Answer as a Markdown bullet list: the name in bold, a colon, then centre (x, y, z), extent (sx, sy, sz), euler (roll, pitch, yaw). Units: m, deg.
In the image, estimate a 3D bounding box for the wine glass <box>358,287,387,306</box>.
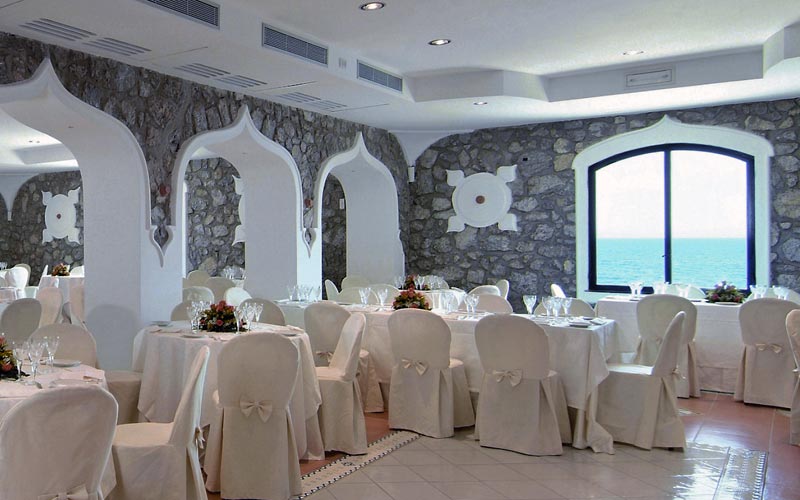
- **wine glass**: centre (-0.329, 0.620, 7.246), extent (0.280, 0.255, 0.353), euler (1, -6, 0)
